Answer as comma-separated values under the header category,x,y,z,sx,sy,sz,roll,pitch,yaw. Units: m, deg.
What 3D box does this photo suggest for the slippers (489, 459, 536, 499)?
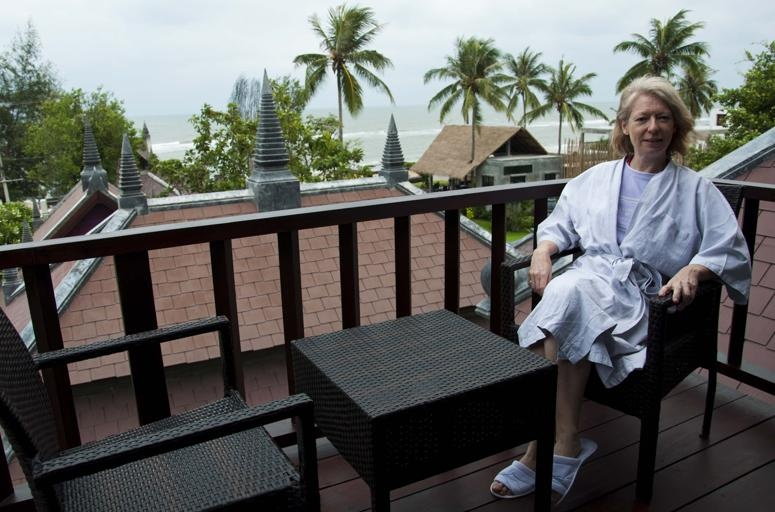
category,x,y,z,sx,sy,sz,roll,pitch,yaw
slippers,0.524,0.919,2.377,0.221,0.079,0.107,-4,14,-18

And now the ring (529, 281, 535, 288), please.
category,x,y,z,sx,sy,sz,roll,pitch,yaw
ring,0.635,0.118,2.503,0.041,0.021,0.037,0,-4,0

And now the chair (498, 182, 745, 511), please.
category,x,y,z,sx,sy,sz,roll,pitch,yaw
chair,0.945,0.219,3.264,1.332,1.790,1.093,-13,20,-39

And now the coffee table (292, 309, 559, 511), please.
category,x,y,z,sx,sy,sz,roll,pitch,yaw
coffee table,0.129,0.618,2.083,0.796,0.640,0.586,-9,18,-23
